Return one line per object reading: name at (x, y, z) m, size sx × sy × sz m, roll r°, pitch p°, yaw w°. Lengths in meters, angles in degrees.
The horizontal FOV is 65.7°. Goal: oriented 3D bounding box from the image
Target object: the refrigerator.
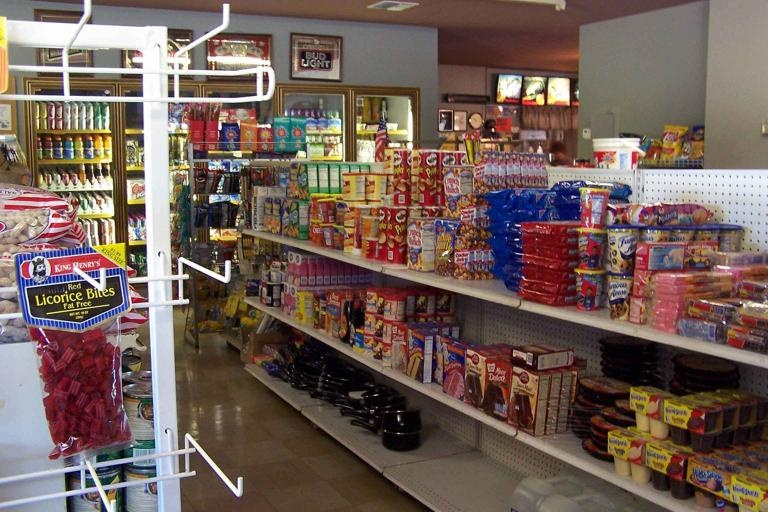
refrigerator at (-1.739, -0.791, 5.658) m, size 3.250 × 1.559 × 0.466 m, roll -3°, pitch 10°, yaw -28°
